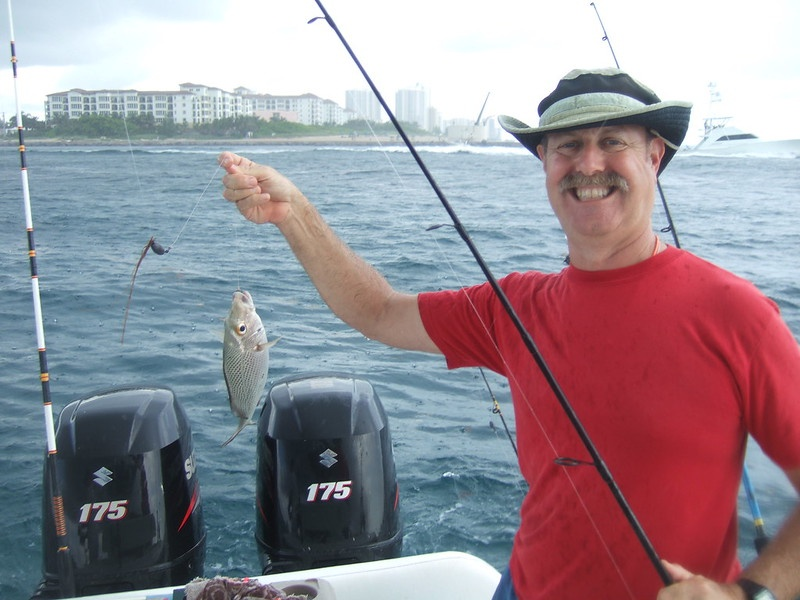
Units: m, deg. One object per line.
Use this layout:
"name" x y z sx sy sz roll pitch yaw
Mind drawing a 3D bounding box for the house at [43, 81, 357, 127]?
"house" -11.451 -11.389 43.577 17.674 2.301 5.119 -2 14 -11

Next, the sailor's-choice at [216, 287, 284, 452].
"sailor's-choice" -0.673 0.308 3.353 0.328 0.700 0.292 3 12 -9
